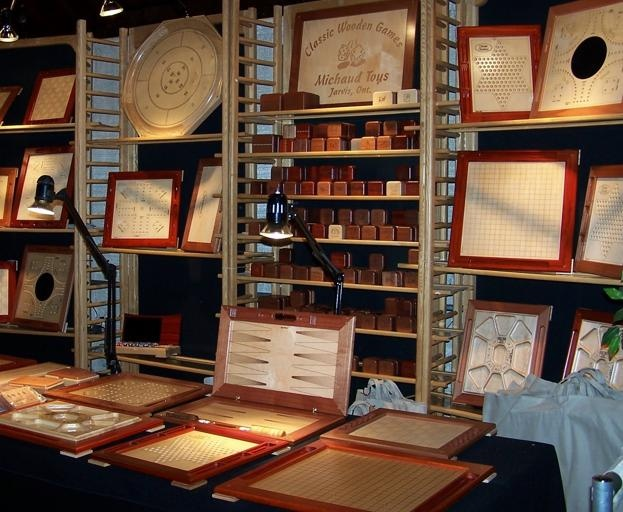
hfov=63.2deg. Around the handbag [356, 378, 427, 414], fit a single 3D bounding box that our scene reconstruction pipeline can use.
[{"bbox_3d":[0.352,0.669,2.327,0.394,0.169,0.122,-4,-10,33],"label":"handbag"}]
